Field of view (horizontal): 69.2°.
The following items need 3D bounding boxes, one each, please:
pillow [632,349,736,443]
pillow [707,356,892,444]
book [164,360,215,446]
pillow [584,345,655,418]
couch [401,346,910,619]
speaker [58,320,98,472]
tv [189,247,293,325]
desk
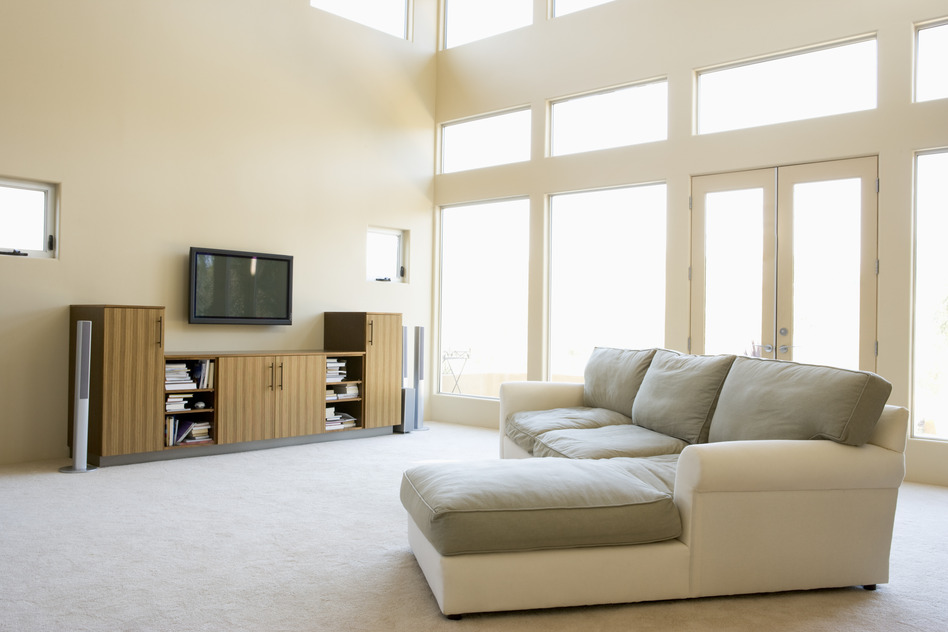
[{"bbox_3d":[1.539,0.606,5.232,0.377,0.617,0.805,3,1,-23],"label":"pillow"},{"bbox_3d":[2.065,0.582,4.413,0.314,0.762,0.747,41,-19,-32],"label":"pillow"},{"bbox_3d":[-2.782,0.826,6.701,0.462,0.808,0.401,-2,8,-21],"label":"book"},{"bbox_3d":[1.226,0.581,5.893,0.286,0.568,0.789,22,-6,-22],"label":"pillow"},{"bbox_3d":[1.166,1.107,4.438,2.003,0.913,2.371,2,-5,-8],"label":"couch"},{"bbox_3d":[-3.549,0.699,6.118,0.283,1.331,0.450,-3,9,-27],"label":"speaker"},{"bbox_3d":[-2.517,-0.315,7.243,0.879,0.602,0.090,2,1,-38],"label":"tv"},{"bbox_3d":[-2.290,0.642,7.322,0.707,1.378,3.398,1,-1,42],"label":"desk"}]
